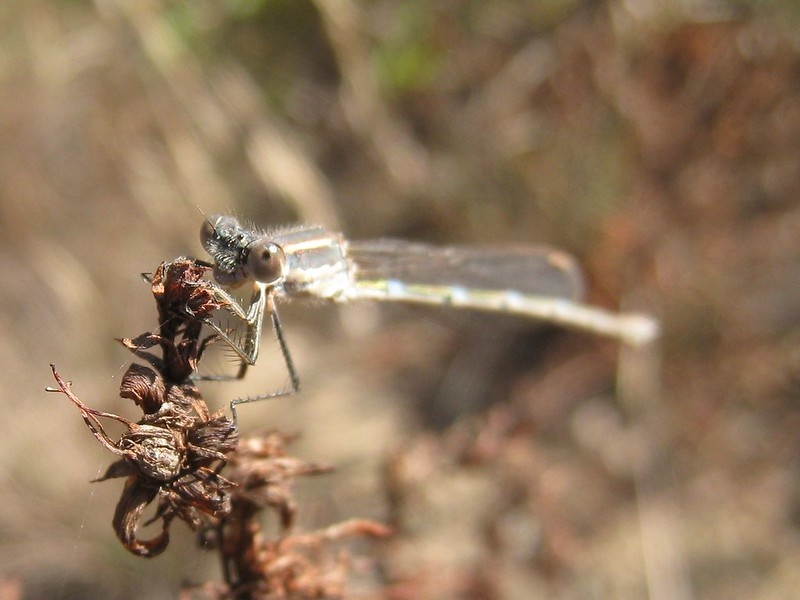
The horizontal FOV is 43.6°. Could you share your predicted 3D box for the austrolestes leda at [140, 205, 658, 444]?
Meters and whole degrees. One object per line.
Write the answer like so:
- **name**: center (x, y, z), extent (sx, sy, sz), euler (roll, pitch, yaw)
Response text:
- **austrolestes leda**: center (0.015, 0.013, 0.822), extent (0.442, 0.164, 0.161), euler (0, 4, -15)
